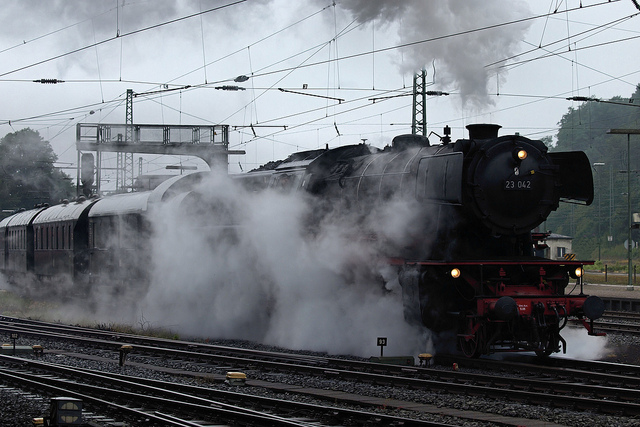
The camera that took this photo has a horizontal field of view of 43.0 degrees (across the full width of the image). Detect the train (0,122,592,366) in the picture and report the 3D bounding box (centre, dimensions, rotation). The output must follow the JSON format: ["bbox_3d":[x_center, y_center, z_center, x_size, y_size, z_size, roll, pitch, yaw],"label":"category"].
[{"bbox_3d":[-6.114,0.636,33.719,6.638,7.538,38.546,-1,0,-28],"label":"train"}]
